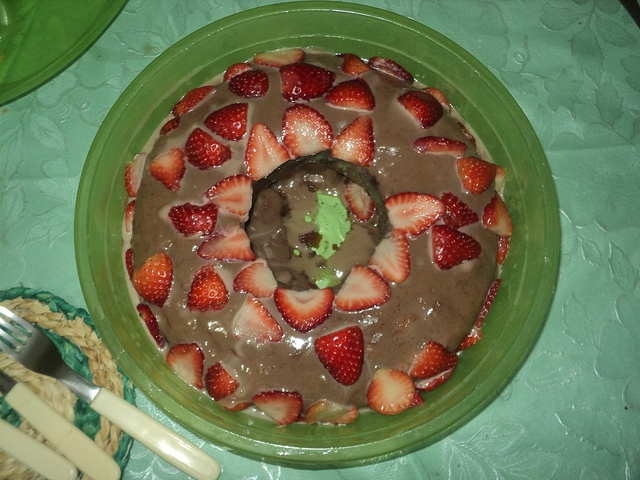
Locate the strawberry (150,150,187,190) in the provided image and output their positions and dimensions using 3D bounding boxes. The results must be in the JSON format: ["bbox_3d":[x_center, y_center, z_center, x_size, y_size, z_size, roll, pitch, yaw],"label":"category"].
[{"bbox_3d":[-0.614,-0.279,2.644,0.151,0.050,0.170,-26,80,-9],"label":"strawberry"}]

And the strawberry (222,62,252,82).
[{"bbox_3d":[-0.365,-0.736,2.779,0.104,0.032,0.079,-44,49,-20],"label":"strawberry"}]

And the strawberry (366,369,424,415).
[{"bbox_3d":[0.287,0.617,2.607,0.187,0.062,0.178,7,77,-2],"label":"strawberry"}]

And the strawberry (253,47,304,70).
[{"bbox_3d":[-0.178,-0.786,2.762,0.162,0.034,0.116,-12,45,2],"label":"strawberry"}]

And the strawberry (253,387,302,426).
[{"bbox_3d":[-0.164,0.653,2.603,0.189,0.066,0.149,41,78,6],"label":"strawberry"}]

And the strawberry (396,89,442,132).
[{"bbox_3d":[0.429,-0.569,2.703,0.153,0.059,0.192,-43,83,-11],"label":"strawberry"}]

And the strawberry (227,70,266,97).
[{"bbox_3d":[-0.298,-0.642,2.670,0.172,0.061,0.137,-12,78,-6],"label":"strawberry"}]

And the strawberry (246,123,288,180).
[{"bbox_3d":[-0.245,-0.364,2.603,0.186,0.048,0.186,-34,82,-10],"label":"strawberry"}]

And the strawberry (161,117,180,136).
[{"bbox_3d":[-0.633,-0.473,2.743,0.090,0.015,0.058,-43,51,12],"label":"strawberry"}]

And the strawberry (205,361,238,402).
[{"bbox_3d":[-0.405,0.573,2.579,0.095,0.114,0.146,-45,108,-19],"label":"strawberry"}]

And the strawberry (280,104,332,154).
[{"bbox_3d":[-0.054,-0.447,2.617,0.205,0.053,0.197,-3,78,-4],"label":"strawberry"}]

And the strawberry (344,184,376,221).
[{"bbox_3d":[0.174,-0.166,2.837,0.110,0.039,0.168,-18,94,7],"label":"strawberry"}]

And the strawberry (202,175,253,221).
[{"bbox_3d":[-0.366,-0.191,2.602,0.193,0.057,0.172,22,77,2],"label":"strawberry"}]

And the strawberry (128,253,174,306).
[{"bbox_3d":[-0.665,0.161,2.622,0.184,0.071,0.177,-41,83,-11],"label":"strawberry"}]

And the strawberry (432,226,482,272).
[{"bbox_3d":[0.559,0.025,2.621,0.212,0.072,0.174,-3,78,-4],"label":"strawberry"}]

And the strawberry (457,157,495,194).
[{"bbox_3d":[0.637,-0.271,2.660,0.167,0.043,0.151,21,77,1],"label":"strawberry"}]

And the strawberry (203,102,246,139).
[{"bbox_3d":[-0.385,-0.480,2.612,0.176,0.044,0.155,-1,77,-4],"label":"strawberry"}]

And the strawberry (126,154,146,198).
[{"bbox_3d":[-0.801,-0.275,2.749,0.114,0.037,0.169,-1,86,23],"label":"strawberry"}]
